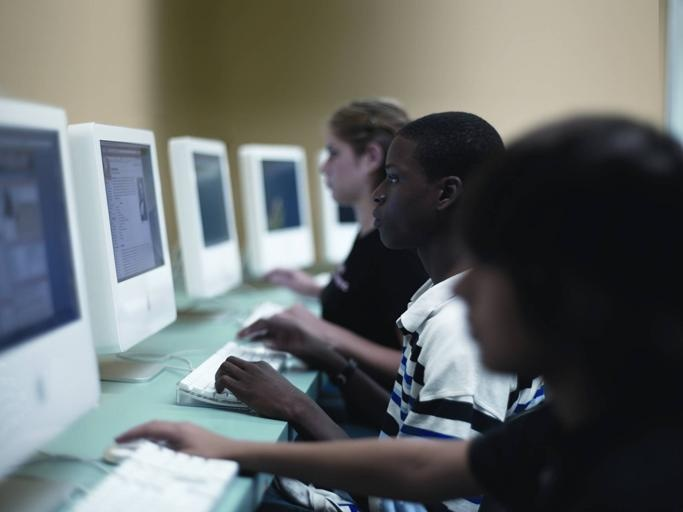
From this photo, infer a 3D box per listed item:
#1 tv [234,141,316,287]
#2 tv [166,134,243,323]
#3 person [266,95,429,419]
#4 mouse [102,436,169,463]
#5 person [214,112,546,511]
[{"bbox_3d":[-0.223,-0.134,1.800,0.043,0.425,0.428,-4,4,29],"label":"tv"},{"bbox_3d":[-0.384,-0.075,1.550,0.065,0.502,0.490,-7,2,11],"label":"tv"},{"bbox_3d":[0.032,-0.030,1.864,0.540,1.187,0.671,3,4,3],"label":"person"},{"bbox_3d":[-0.304,0.290,0.844,0.091,0.029,0.024,-6,13,-1],"label":"mouse"},{"bbox_3d":[0.136,0.083,1.282,0.644,0.887,0.589,3,3,3],"label":"person"}]
